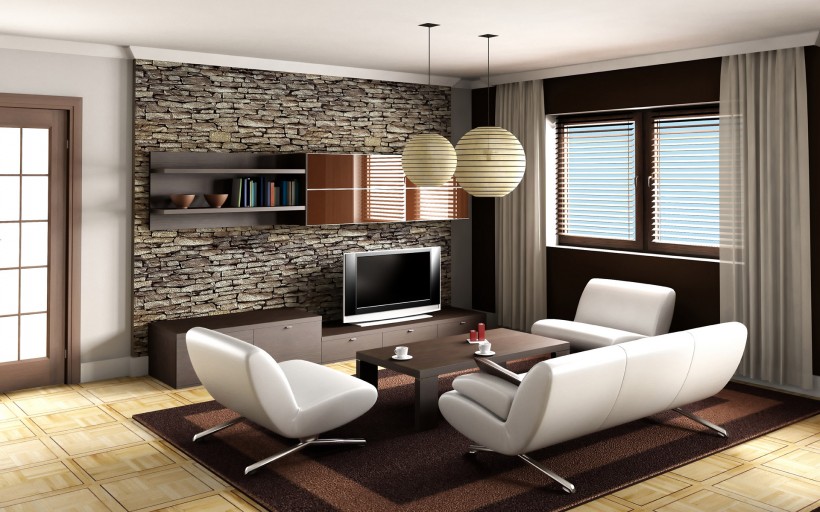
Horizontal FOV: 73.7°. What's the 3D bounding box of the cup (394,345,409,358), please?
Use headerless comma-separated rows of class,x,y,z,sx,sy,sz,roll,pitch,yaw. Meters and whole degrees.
cup,-0.077,0.909,5.153,0.121,0.069,0.100,-5,-4,43

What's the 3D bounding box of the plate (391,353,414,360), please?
plate,-0.072,0.936,5.102,0.204,0.033,0.126,0,10,0

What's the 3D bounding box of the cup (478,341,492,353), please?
cup,0.740,0.884,5.292,0.119,0.067,0.112,-1,-4,0

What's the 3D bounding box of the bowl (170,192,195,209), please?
bowl,-2.488,-0.607,5.952,0.231,0.100,0.200,-2,2,-16

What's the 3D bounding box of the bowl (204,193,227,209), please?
bowl,-2.173,-0.619,6.097,0.225,0.097,0.191,-2,2,-1

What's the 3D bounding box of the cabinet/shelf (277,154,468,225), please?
cabinet/shelf,-0.202,-0.831,6.982,2.773,0.815,0.471,5,9,39

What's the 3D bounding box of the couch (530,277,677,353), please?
couch,2.362,0.640,6.215,1.133,0.558,1.127,0,0,-42

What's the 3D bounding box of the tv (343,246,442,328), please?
tv,-0.273,0.401,6.939,1.386,0.691,0.183,-2,0,-30

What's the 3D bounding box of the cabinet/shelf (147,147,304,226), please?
cabinet/shelf,-1.977,-0.745,6.237,1.809,0.723,0.488,-8,16,-42
